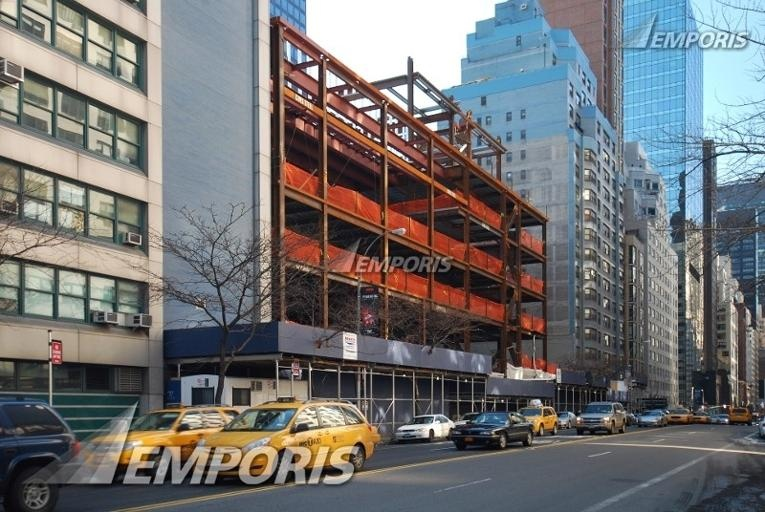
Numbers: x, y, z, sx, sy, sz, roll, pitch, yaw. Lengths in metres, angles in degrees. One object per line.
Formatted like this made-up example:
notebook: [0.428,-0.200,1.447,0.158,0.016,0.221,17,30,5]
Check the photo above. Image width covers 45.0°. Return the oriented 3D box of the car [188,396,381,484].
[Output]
car: [-3.001,6.202,32.227,5.799,2.434,1.790,11,-21,-33]

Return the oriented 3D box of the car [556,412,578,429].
car: [13.216,11.993,66.861,0.852,0.664,1.982,-1,-3,24]

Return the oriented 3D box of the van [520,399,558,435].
van: [9.082,9.786,55.109,2.217,1.911,4.045,-9,-22,25]

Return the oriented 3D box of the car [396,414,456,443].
car: [2.248,9.532,51.347,1.528,1.772,3.639,-13,-21,34]

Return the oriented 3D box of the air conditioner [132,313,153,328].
air conditioner: [-11.325,3.051,43.230,0.576,0.597,0.895,-7,-11,19]
